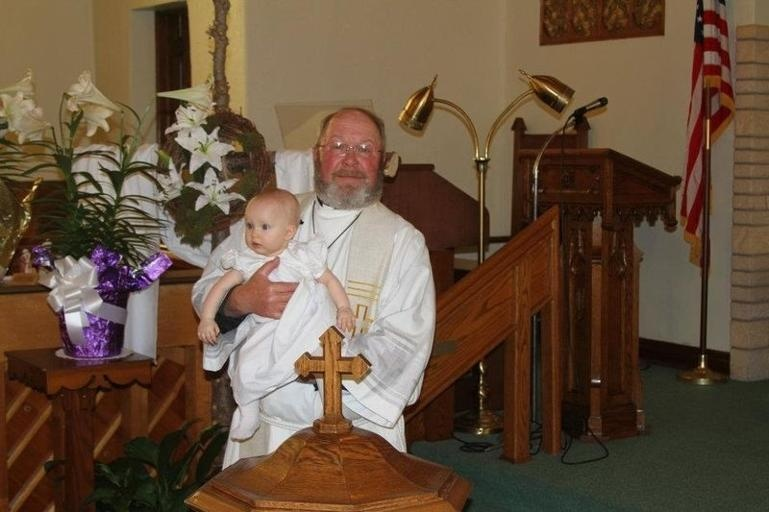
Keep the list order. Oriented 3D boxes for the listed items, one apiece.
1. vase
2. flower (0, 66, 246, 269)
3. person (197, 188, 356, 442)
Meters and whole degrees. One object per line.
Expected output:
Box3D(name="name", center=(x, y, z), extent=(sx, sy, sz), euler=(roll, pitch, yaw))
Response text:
Box3D(name="vase", center=(-1.425, 0.332, 3.880), extent=(0.312, 0.314, 0.344), euler=(0, -5, 0))
Box3D(name="flower", center=(-1.503, -0.381, 4.355), extent=(1.043, 1.064, 1.249), euler=(6, -17, -23))
Box3D(name="person", center=(-0.466, 0.271, 3.354), extent=(0.717, 1.112, 0.509), euler=(1, 9, 3))
